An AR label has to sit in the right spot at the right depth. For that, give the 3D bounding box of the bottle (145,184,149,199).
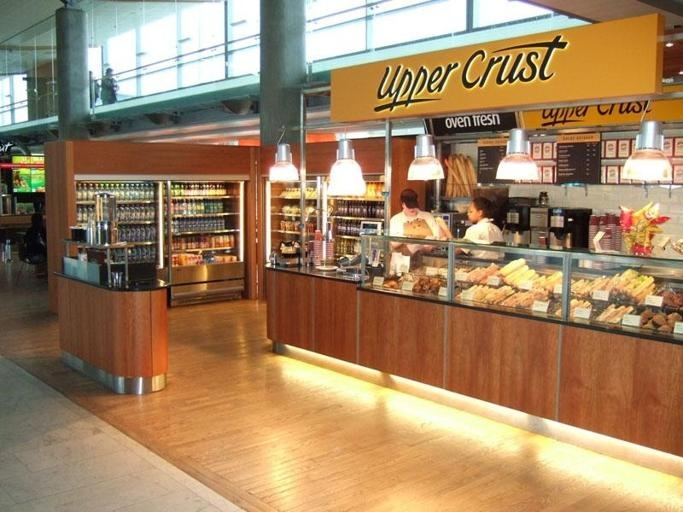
[{"bbox_3d":[-3.692,-1.201,10.429,0.081,0.237,0.129,1,11,6],"label":"bottle"}]

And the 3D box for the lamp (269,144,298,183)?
[{"bbox_3d":[-0.778,-1.258,7.367,0.332,0.485,0.616,-1,9,-6],"label":"lamp"}]

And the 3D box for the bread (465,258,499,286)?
[{"bbox_3d":[1.417,0.168,5.596,0.266,0.225,0.093,30,9,31],"label":"bread"}]

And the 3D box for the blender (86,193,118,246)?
[{"bbox_3d":[-2.967,-0.452,6.781,0.356,0.612,0.573,-4,11,-22],"label":"blender"}]

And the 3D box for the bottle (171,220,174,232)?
[{"bbox_3d":[-3.287,-0.561,10.703,0.058,0.217,0.159,-2,10,-9],"label":"bottle"}]

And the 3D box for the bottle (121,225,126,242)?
[{"bbox_3d":[-4.047,-0.422,10.213,0.131,0.250,0.238,-3,10,-15],"label":"bottle"}]

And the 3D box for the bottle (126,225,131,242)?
[{"bbox_3d":[-3.973,-0.407,10.233,0.093,0.239,0.129,-3,11,-14],"label":"bottle"}]

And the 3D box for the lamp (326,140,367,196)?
[{"bbox_3d":[0.044,-1.015,6.277,0.404,0.634,0.452,0,10,-1],"label":"lamp"}]

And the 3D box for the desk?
[{"bbox_3d":[-2.771,0.922,6.645,0.681,0.838,1.785,-5,6,-42],"label":"desk"}]

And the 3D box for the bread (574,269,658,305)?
[{"bbox_3d":[2.399,0.272,4.818,0.405,0.106,0.368,-9,9,-29],"label":"bread"}]

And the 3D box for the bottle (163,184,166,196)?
[{"bbox_3d":[-3.393,-1.265,10.499,0.097,0.228,0.184,-4,11,-19],"label":"bottle"}]

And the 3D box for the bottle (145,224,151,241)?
[{"bbox_3d":[-3.686,-0.427,10.478,0.084,0.276,0.158,3,11,12],"label":"bottle"}]

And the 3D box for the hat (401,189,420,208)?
[{"bbox_3d":[0.925,-0.815,7.600,0.262,0.143,0.297,-14,37,-12],"label":"hat"}]

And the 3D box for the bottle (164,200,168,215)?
[{"bbox_3d":[-3.379,-0.907,10.541,0.042,0.343,0.182,-7,12,-31],"label":"bottle"}]

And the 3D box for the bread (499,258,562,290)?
[{"bbox_3d":[1.802,0.207,5.303,0.377,0.104,0.364,-28,38,-26],"label":"bread"}]

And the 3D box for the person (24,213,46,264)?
[{"bbox_3d":[-7.401,-0.406,13.266,0.457,1.173,0.552,-5,12,-25],"label":"person"}]

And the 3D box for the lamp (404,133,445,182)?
[{"bbox_3d":[0.888,-1.131,6.235,0.532,0.412,0.447,-9,26,-21],"label":"lamp"}]

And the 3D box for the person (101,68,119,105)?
[{"bbox_3d":[-7.635,-5.479,18.079,0.546,0.950,0.594,-3,11,-15],"label":"person"}]

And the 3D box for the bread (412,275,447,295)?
[{"bbox_3d":[0.950,0.325,6.031,0.293,0.080,0.205,5,18,31],"label":"bread"}]

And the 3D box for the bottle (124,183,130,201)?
[{"bbox_3d":[-3.996,-1.188,10.201,0.115,0.279,0.189,-4,11,-20],"label":"bottle"}]

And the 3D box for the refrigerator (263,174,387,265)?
[{"bbox_3d":[-0.224,-0.623,8.983,2.438,1.897,0.757,2,-1,15],"label":"refrigerator"}]

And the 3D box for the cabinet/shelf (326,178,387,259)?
[{"bbox_3d":[0.538,-0.787,9.995,0.961,1.251,0.477,11,6,34],"label":"cabinet/shelf"}]

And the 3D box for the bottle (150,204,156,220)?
[{"bbox_3d":[-3.637,-0.830,10.536,0.104,0.315,0.147,1,11,4],"label":"bottle"}]

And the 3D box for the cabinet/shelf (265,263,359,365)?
[{"bbox_3d":[-0.354,0.763,7.222,1.716,0.856,0.596,4,4,42],"label":"cabinet/shelf"}]

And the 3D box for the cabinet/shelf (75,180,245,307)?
[{"bbox_3d":[-3.655,-0.398,10.626,3.462,2.160,0.985,-3,9,-29],"label":"cabinet/shelf"}]

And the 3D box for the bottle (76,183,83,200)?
[{"bbox_3d":[-4.587,-1.121,9.661,0.143,0.297,0.301,-5,11,-23],"label":"bottle"}]

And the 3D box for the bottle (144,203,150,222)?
[{"bbox_3d":[-3.710,-0.827,10.488,0.105,0.311,0.176,1,10,3],"label":"bottle"}]

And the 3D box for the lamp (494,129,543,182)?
[{"bbox_3d":[1.734,-1.012,5.446,0.394,0.483,0.389,1,10,6],"label":"lamp"}]

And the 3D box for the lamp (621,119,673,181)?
[{"bbox_3d":[2.738,-0.940,4.793,0.523,0.439,0.487,6,28,38],"label":"lamp"}]
